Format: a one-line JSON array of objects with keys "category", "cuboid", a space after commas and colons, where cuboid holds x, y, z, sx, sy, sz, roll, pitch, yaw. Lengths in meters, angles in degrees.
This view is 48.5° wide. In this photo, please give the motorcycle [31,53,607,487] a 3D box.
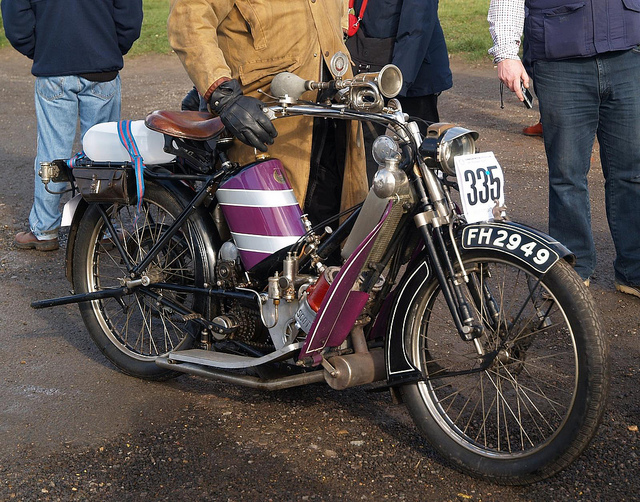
[{"category": "motorcycle", "cuboid": [-0.197, 0.018, 3.593, 3.042, 1.961, 1.234, 10, 12, 23]}]

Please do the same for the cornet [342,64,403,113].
[{"category": "cornet", "cuboid": [0.240, -0.757, 3.309, 0.165, 0.177, 0.256, -34, 31, -34]}]
